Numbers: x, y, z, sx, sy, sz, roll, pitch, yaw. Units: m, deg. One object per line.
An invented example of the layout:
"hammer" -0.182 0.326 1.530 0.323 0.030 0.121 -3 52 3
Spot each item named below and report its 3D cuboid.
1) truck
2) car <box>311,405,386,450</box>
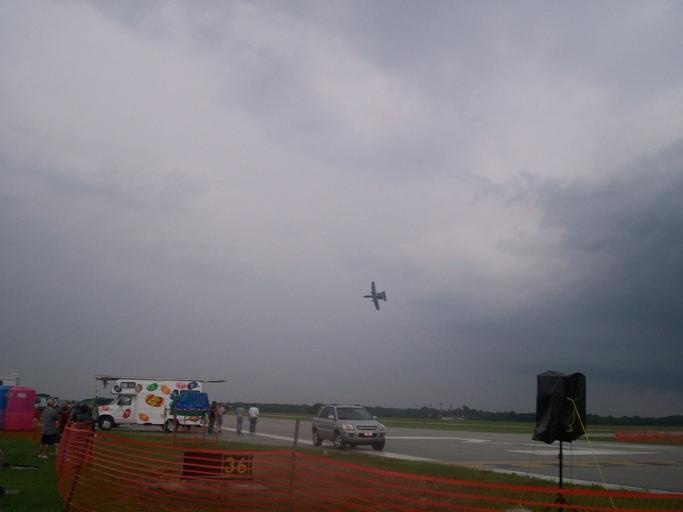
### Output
"truck" -11.714 8.902 41.036 6.535 2.751 2.167 7 -19 -28
"car" 0.388 8.432 33.820 2.827 2.136 4.003 11 -20 -17
